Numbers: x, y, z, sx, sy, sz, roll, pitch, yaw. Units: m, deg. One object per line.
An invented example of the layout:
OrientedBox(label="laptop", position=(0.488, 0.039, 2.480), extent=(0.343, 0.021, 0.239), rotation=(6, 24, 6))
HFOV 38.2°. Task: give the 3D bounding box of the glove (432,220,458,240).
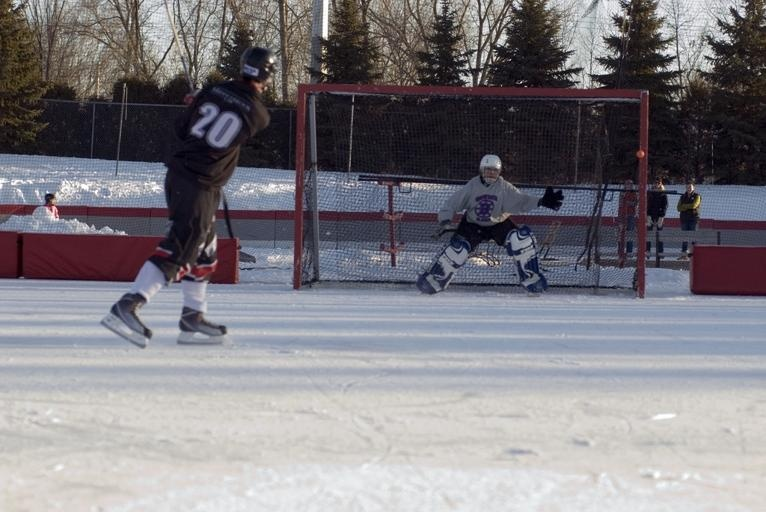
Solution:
OrientedBox(label="glove", position=(0.936, -0.358, 16.524), extent=(0.245, 0.362, 0.103), rotation=(42, -7, 35))

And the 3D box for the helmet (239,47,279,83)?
OrientedBox(label="helmet", position=(-1.519, -2.399, 13.812), extent=(0.374, 0.407, 0.473), rotation=(7, 25, 7))

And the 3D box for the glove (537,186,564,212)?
OrientedBox(label="glove", position=(2.509, -0.849, 16.466), extent=(0.338, 0.376, 0.532), rotation=(2, 7, 11))

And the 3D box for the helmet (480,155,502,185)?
OrientedBox(label="helmet", position=(1.601, -1.287, 16.418), extent=(0.300, 0.419, 0.290), rotation=(1, 7, 2))

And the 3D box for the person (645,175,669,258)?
OrientedBox(label="person", position=(5.549, -0.731, 22.353), extent=(0.534, 2.120, 0.603), rotation=(2, -3, 0))
